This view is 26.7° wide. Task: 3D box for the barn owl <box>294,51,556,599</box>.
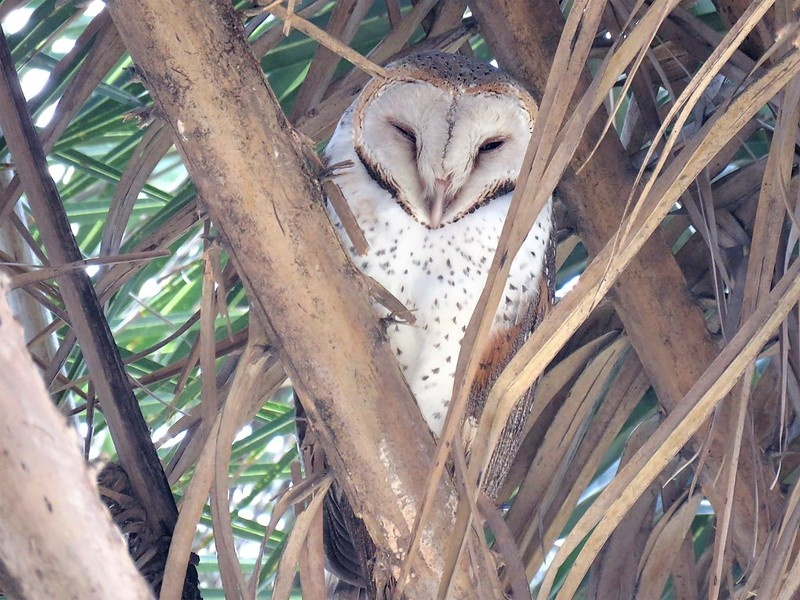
[{"bbox_3d":[0.028,0.029,1.944,0.322,0.665,0.527,-4,-30,2],"label":"barn owl"}]
